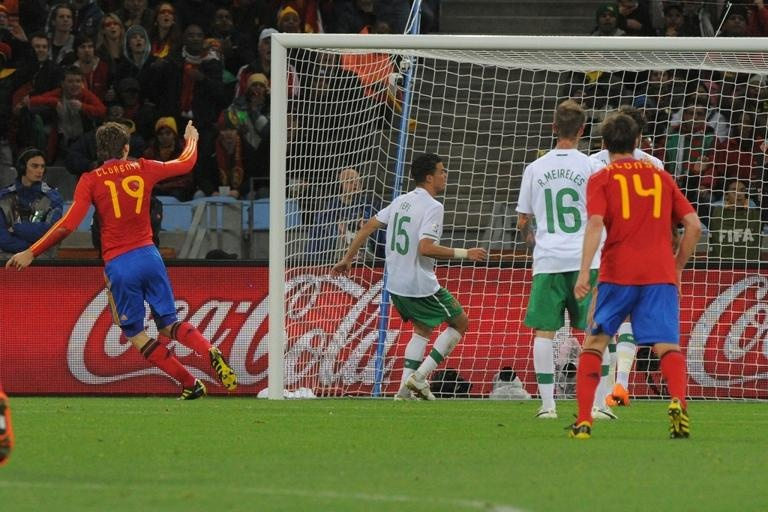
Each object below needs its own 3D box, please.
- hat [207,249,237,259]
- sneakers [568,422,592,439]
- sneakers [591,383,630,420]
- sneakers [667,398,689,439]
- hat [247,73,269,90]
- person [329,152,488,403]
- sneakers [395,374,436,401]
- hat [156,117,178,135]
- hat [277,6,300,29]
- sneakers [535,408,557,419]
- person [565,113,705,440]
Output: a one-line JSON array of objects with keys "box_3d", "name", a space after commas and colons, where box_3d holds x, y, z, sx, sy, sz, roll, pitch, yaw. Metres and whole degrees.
[{"box_3d": [-1.931, -0.018, 14.709, 0.246, 0.064, 0.161, 2, -4, 6], "name": "hat"}, {"box_3d": [1.763, 1.549, 11.007, 0.190, 0.147, 0.206, 1, 9, 6], "name": "sneakers"}, {"box_3d": [2.480, 1.551, 13.111, 0.249, 0.275, 0.704, 3, 9, 29], "name": "sneakers"}, {"box_3d": [2.624, 1.453, 10.931, 0.163, 0.397, 0.188, -1, 37, 13], "name": "sneakers"}, {"box_3d": [-1.721, -2.418, 16.973, 0.211, 0.207, 0.267, 0, -22, -4], "name": "hat"}, {"box_3d": [0.422, 0.267, 13.494, 0.777, 2.771, 1.242, -9, 13, -44], "name": "person"}, {"box_3d": [0.359, 1.479, 13.583, 0.219, 0.234, 0.587, 9, -7, 29], "name": "sneakers"}, {"box_3d": [-2.943, -1.797, 16.826, 0.274, 0.231, 0.276, 1, 0, -28], "name": "hat"}, {"box_3d": [-1.329, -3.445, 17.673, 0.340, 0.327, 0.426, 0, 0, -6], "name": "hat"}, {"box_3d": [1.623, 1.575, 12.269, 0.203, 0.078, 0.084, 2, 5, 40], "name": "sneakers"}, {"box_3d": [2.264, 0.196, 11.019, 1.046, 2.891, 0.871, 2, 10, 12], "name": "person"}]
